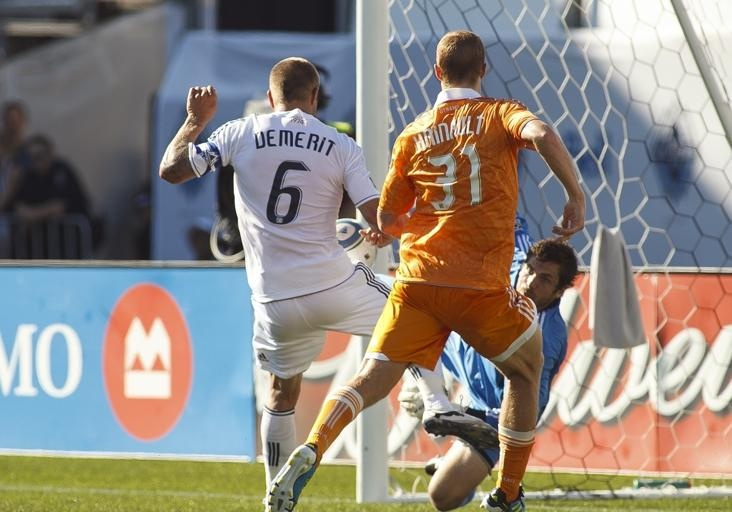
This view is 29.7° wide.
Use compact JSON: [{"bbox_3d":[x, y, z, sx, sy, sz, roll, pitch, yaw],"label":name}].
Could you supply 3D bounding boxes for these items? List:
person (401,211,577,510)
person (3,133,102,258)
[{"bbox_3d":[1.146,0.887,11.082,0.588,2.446,1.261,29,-25,-36],"label":"person"},{"bbox_3d":[-3.579,-0.559,15.792,0.887,1.394,0.319,1,-20,-13],"label":"person"}]
